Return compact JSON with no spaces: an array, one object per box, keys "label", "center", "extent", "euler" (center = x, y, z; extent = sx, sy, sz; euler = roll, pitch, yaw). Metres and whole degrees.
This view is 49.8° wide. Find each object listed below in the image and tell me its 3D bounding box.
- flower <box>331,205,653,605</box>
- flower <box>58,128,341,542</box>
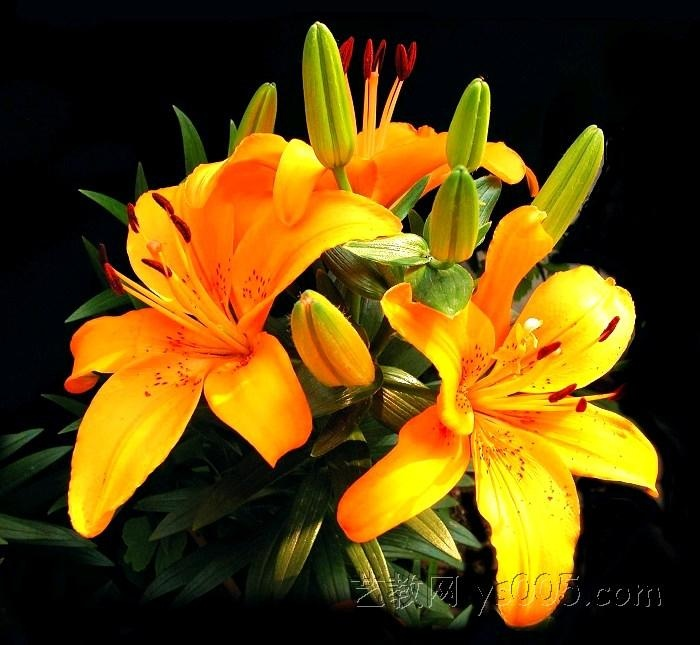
[{"label":"flower","center":[0.180,0.097,1.086],"extent":[0.399,0.206,0.578],"euler":[14,13,-15]},{"label":"flower","center":[-0.159,-0.006,1.108],"extent":[0.466,0.224,0.501],"euler":[-33,55,21]}]
